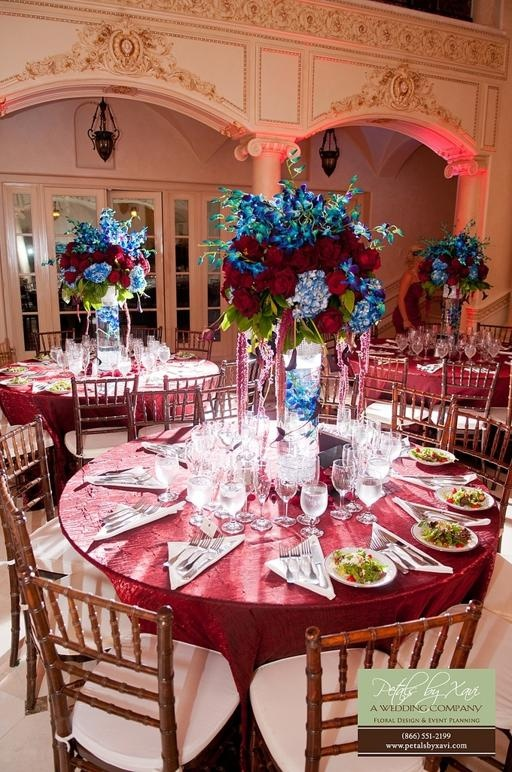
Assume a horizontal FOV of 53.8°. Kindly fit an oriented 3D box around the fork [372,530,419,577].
[{"bbox_3d":[0.372,0.441,1.346,0.046,0.008,0.150,-7,10,-8],"label":"fork"}]

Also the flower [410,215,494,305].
[{"bbox_3d":[1.908,-1.164,4.889,0.610,0.633,0.387,4,12,14],"label":"flower"}]

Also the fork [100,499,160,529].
[{"bbox_3d":[-0.391,0.379,1.544,0.058,0.020,0.140,9,16,37],"label":"fork"}]

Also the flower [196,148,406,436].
[{"bbox_3d":[0.191,-0.460,2.094,0.803,1.031,0.849,5,10,37],"label":"flower"}]

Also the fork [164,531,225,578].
[{"bbox_3d":[-0.166,0.419,1.322,0.050,0.025,0.173,13,20,19],"label":"fork"}]

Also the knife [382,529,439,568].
[{"bbox_3d":[0.405,0.431,1.343,0.041,0.010,0.201,-11,9,-10],"label":"knife"}]

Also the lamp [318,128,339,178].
[{"bbox_3d":[0.971,-3.107,6.651,0.262,0.712,0.195,1,5,4],"label":"lamp"}]

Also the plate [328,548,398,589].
[{"bbox_3d":[0.257,0.434,1.204,0.097,0.030,0.096,5,12,-1],"label":"plate"}]

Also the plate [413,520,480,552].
[{"bbox_3d":[0.530,0.411,1.392,0.098,0.014,0.097,3,20,-2],"label":"plate"}]

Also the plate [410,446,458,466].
[{"bbox_3d":[0.708,0.281,2.027,0.100,0.026,0.100,7,19,16],"label":"plate"}]

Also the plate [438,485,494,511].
[{"bbox_3d":[0.678,0.364,1.662,0.099,0.030,0.102,-11,15,-39],"label":"plate"}]
